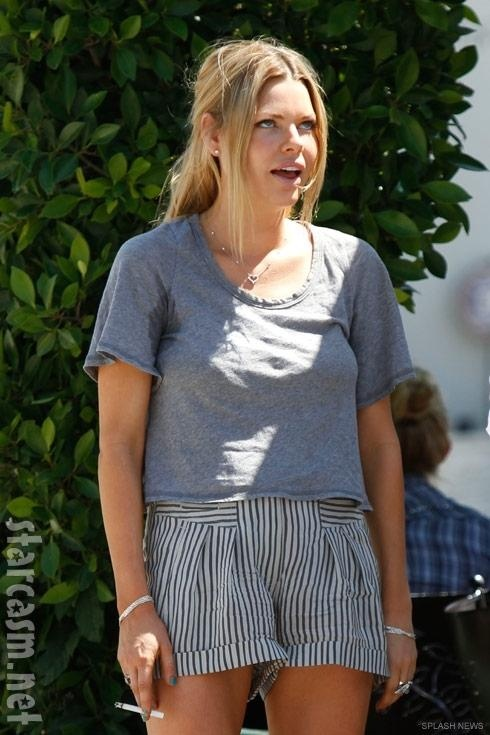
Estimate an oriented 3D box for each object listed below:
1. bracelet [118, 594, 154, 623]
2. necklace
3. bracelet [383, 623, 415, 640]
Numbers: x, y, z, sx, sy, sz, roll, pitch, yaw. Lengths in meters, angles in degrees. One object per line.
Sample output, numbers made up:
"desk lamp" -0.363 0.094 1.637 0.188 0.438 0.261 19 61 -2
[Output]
"bracelet" -0.201 0.417 1.384 0.054 0.021 0.052 -39 -23 11
"necklace" -0.004 -0.230 1.627 0.210 0.150 0.074 -5 -5 -21
"bracelet" 0.296 0.505 1.543 0.044 0.010 0.034 13 -12 0
